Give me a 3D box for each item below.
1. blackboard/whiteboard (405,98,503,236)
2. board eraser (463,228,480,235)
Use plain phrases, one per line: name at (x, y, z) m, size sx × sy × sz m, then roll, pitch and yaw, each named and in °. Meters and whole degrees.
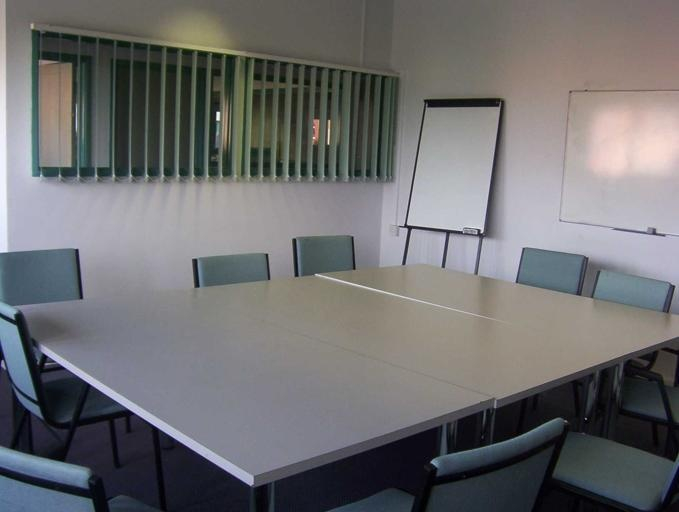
blackboard/whiteboard at (1.341, -1.072, 5.876) m, size 1.058 × 1.569 × 0.070 m, roll 10°, pitch 6°, yaw 33°
board eraser at (1.529, -0.286, 5.726) m, size 0.212 × 0.081 × 0.076 m, roll 7°, pitch 12°, yaw 18°
